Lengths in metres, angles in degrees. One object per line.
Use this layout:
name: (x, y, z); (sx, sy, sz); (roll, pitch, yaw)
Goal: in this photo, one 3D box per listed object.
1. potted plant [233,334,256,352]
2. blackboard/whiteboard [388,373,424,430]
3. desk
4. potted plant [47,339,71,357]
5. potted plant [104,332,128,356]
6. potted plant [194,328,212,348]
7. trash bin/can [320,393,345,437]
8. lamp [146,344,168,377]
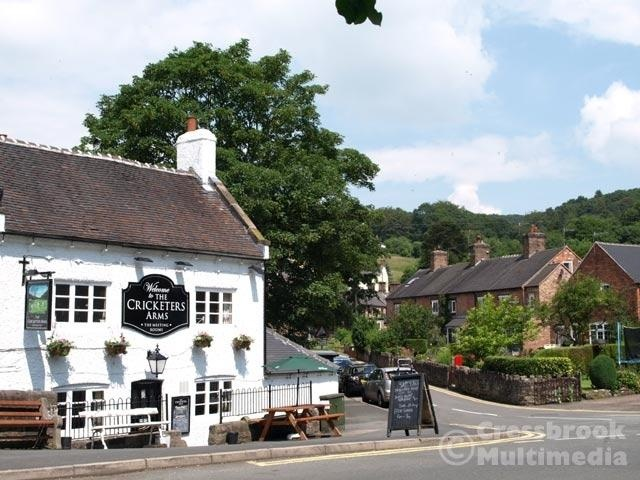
potted plant: (-3.349, 4.449, 45.823); (0.679, 0.536, 0.695); (1, -1, 19)
blackboard/whiteboard: (3.189, 6.131, 39.381); (1.473, 2.205, 0.554); (-7, -10, 24)
desk: (-0.856, 7.470, 42.213); (2.978, 1.812, 3.003); (4, -6, -35)
potted plant: (-10.195, 4.288, 41.496); (0.683, 0.520, 0.710); (2, -7, 5)
potted plant: (-8.233, 4.250, 42.626); (0.707, 0.568, 0.732); (4, -2, 38)
potted plant: (-4.920, 4.183, 44.572); (0.638, 0.602, 0.665); (4, -3, -29)
trash bin/can: (0.496, 7.431, 44.647); (0.612, 1.441, 1.494); (-5, -10, 35)
lamp: (-6.708, 4.945, 43.315); (0.765, 1.327, 0.768); (1, -10, -18)
